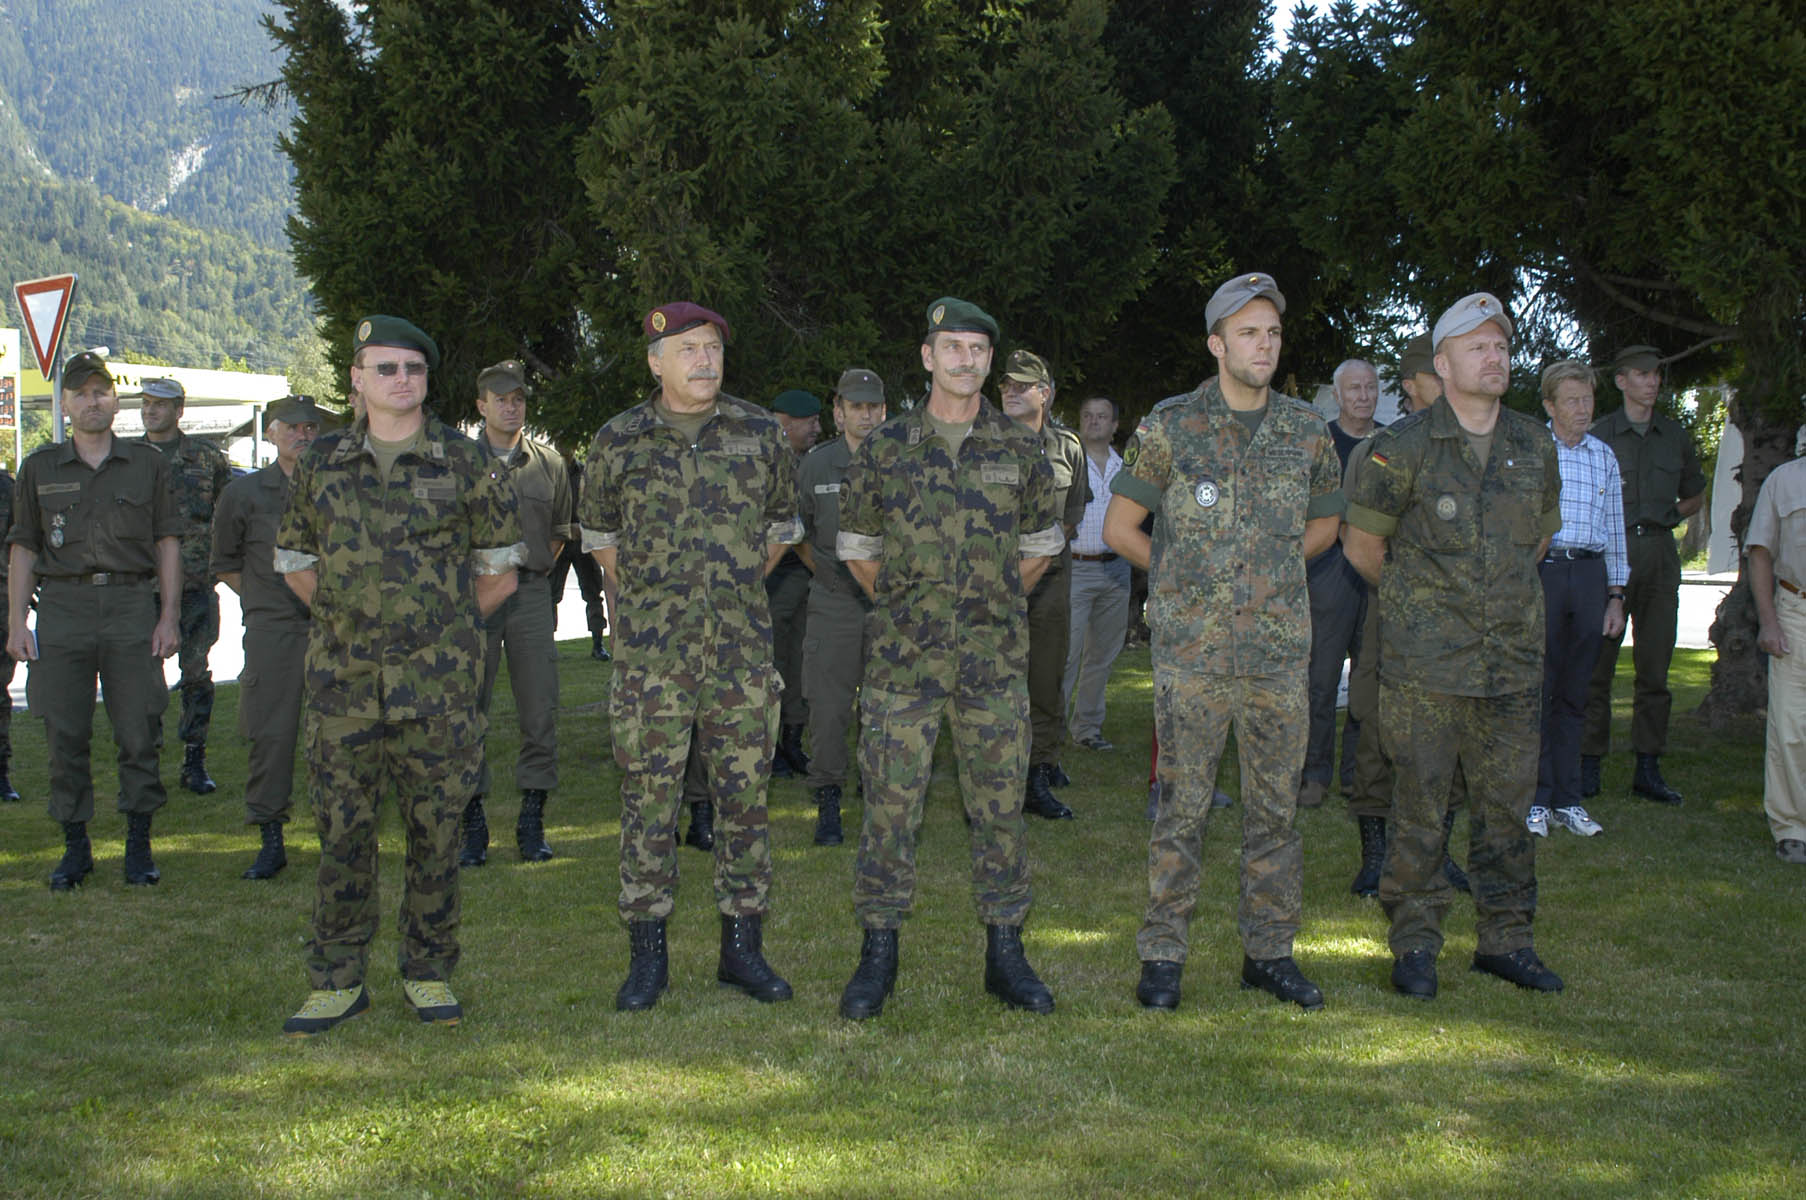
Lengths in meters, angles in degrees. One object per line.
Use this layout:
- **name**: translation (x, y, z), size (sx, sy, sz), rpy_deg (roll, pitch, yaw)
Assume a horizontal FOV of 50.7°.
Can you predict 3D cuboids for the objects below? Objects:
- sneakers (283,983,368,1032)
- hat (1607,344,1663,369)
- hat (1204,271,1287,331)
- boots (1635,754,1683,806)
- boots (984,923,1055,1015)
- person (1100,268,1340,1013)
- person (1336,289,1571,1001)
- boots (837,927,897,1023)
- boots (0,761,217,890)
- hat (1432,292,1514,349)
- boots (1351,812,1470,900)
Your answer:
- **sneakers**: translation (-2.878, 2.061, 9.519), size (0.154, 0.128, 0.385), rpy_deg (-2, -3, 29)
- **hat**: translation (4.904, -1.609, 12.869), size (0.325, 0.121, 0.396), rpy_deg (0, 3, 9)
- **hat**: translation (1.727, -1.552, 9.881), size (0.392, 0.395, 0.181), rpy_deg (16, 12, 0)
- **boots**: translation (5.046, 1.229, 12.866), size (0.283, 0.326, 0.414), rpy_deg (0, -5, 17)
- **boots**: translation (0.582, 1.878, 9.747), size (0.254, 0.472, 0.526), rpy_deg (-7, 9, -28)
- **person**: translation (1.651, 0.225, 9.801), size (1.129, 3.750, 0.649), rpy_deg (1, -6, 11)
- **person**: translation (2.851, 0.255, 9.961), size (1.029, 3.619, 0.602), rpy_deg (0, -6, 16)
- **boots**: translation (-0.172, 1.882, 9.746), size (0.253, 0.399, 0.639), rpy_deg (6, 12, 12)
- **boots**: translation (-4.714, 1.390, 11.331), size (0.615, 0.668, 0.424), rpy_deg (4, -6, -21)
- **hat**: translation (2.903, -1.454, 9.944), size (0.274, 0.154, 0.341), rpy_deg (-5, -15, -21)
- **boots**: translation (2.933, 1.520, 11.152), size (0.771, 0.651, 0.629), rpy_deg (-1, -6, 4)
